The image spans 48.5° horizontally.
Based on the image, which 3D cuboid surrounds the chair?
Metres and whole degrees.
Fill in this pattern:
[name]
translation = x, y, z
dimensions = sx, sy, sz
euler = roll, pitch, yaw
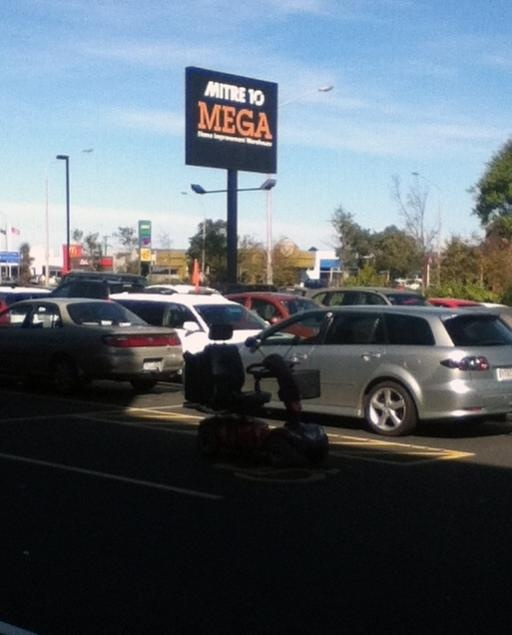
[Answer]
[chair]
translation = -0.188, 0.631, 5.833
dimensions = 0.593, 0.698, 0.564
euler = -6, -6, 22
